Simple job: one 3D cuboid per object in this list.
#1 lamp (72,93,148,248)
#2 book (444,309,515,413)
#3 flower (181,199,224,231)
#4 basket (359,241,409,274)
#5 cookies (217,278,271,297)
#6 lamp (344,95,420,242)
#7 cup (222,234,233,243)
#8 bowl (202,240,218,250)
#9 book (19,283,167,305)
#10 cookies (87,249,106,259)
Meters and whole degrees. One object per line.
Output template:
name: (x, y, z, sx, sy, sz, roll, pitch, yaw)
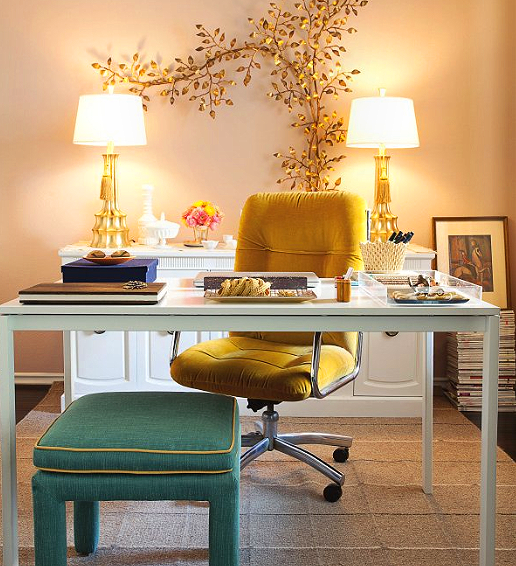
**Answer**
lamp: (-0.766, -0.600, 2.814, 0.357, 0.838, 0.430, -1, 6, -11)
book: (1.137, 0.447, 3.045, 0.494, 0.500, 0.759, 0, -8, 9)
flower: (-0.293, -0.364, 2.797, 0.165, 0.105, 0.163, -2, 6, 6)
basket: (0.401, -0.081, 1.747, 0.125, 0.069, 0.114, 1, -4, -4)
cookies: (-0.032, 0.011, 1.298, 0.079, 0.033, 0.066, -4, 3, -39)
lamp: (0.643, -0.622, 2.808, 0.348, 0.799, 0.456, 2, 6, 9)
cup: (-0.163, -0.238, 2.863, 0.058, 0.041, 0.056, 0, -4, 0)
bowl: (-0.239, -0.200, 2.765, 0.064, 0.026, 0.059, -2, 8, 0)
book: (-0.393, 0.021, 1.307, 0.320, 0.044, 0.190, 0, 5, -3)
cookies: (-0.424, -0.081, 1.432, 0.040, 0.011, 0.038, 3, 14, 7)
